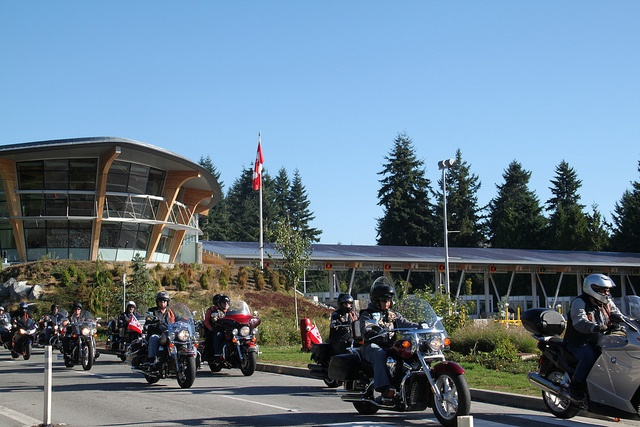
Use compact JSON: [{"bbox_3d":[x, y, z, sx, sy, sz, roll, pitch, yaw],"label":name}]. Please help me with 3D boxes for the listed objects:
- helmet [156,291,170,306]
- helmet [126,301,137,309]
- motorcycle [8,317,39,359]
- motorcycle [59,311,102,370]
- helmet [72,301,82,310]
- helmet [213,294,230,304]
[{"bbox_3d":[-5.509,2.924,25.918,0.342,0.431,0.478,0,-10,-6],"label":"helmet"},{"bbox_3d":[-7.903,3.688,30.862,0.299,0.342,0.401,2,-15,-15],"label":"helmet"},{"bbox_3d":[-14.029,5.830,35.091,0.998,1.946,1.573,4,-10,-26],"label":"motorcycle"},{"bbox_3d":[-9.733,5.054,30.180,1.558,2.469,0.845,-7,-11,38],"label":"motorcycle"},{"bbox_3d":[-10.112,3.784,30.894,0.244,0.327,0.338,8,-33,-27],"label":"helmet"},{"bbox_3d":[-3.777,3.216,28.390,0.447,0.471,0.391,-3,-5,20],"label":"helmet"}]
